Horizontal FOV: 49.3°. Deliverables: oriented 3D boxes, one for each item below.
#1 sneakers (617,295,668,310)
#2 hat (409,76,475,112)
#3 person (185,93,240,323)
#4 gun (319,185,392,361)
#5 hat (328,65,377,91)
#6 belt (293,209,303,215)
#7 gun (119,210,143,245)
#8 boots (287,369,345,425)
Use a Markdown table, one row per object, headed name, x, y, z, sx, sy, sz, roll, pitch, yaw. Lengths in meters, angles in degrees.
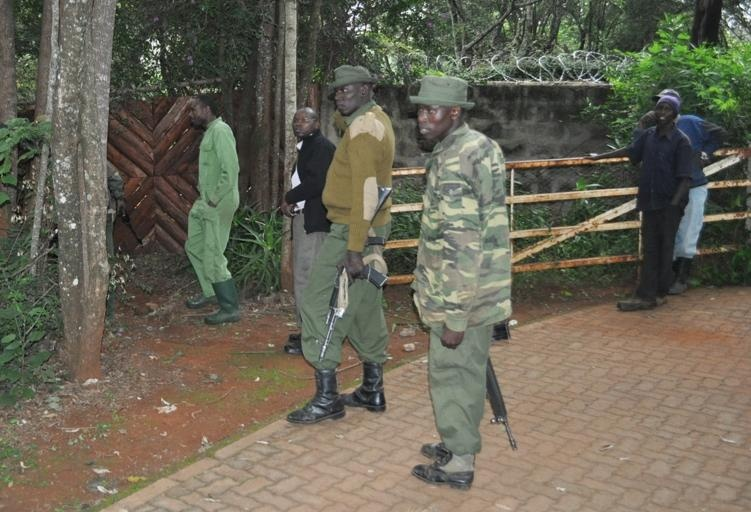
| name | x | y | z | sx | sy | sz | roll | pitch | yaw |
| --- | --- | --- | --- | --- | --- | --- | --- | --- | --- |
| sneakers | 3.644 | 0.647 | 11.051 | 0.724 | 0.236 | 0.223 | 1 | 2 | -6 |
| hat | 0.640 | -1.419 | 7.415 | 0.453 | 0.150 | 0.362 | 2 | 6 | -31 |
| person | -2.075 | -0.566 | 10.327 | 0.750 | 2.781 | 0.890 | -8 | 17 | -20 |
| gun | -0.220 | 0.150 | 8.271 | 0.827 | 1.852 | 0.154 | 14 | -5 | 26 |
| hat | -0.245 | -1.825 | 8.366 | 0.380 | 0.143 | 0.298 | -4 | 15 | 9 |
| belt | -0.871 | -0.491 | 9.257 | 0.077 | 0.027 | 0.098 | -1 | -5 | 3 |
| gun | -3.639 | -0.420 | 12.089 | 0.070 | 0.611 | 0.201 | -46 | 14 | -9 |
| boots | -0.531 | 1.447 | 8.218 | 0.812 | 0.577 | 0.330 | 1 | 3 | -7 |
